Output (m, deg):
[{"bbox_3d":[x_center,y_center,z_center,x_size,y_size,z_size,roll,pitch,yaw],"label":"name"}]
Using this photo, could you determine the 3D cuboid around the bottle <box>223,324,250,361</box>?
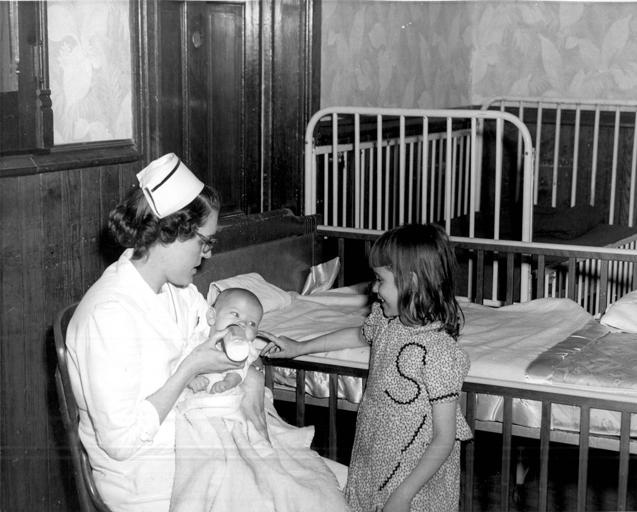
[{"bbox_3d":[-0.169,0.179,1.401,0.030,0.038,0.054,-29,12,-4],"label":"bottle"}]

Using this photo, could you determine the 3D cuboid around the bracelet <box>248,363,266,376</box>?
[{"bbox_3d":[-0.145,0.266,1.649,0.047,0.019,0.047,6,-1,-36],"label":"bracelet"}]

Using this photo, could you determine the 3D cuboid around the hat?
[{"bbox_3d":[-0.290,-0.137,1.339,0.116,0.110,0.059,-5,-19,21],"label":"hat"}]
